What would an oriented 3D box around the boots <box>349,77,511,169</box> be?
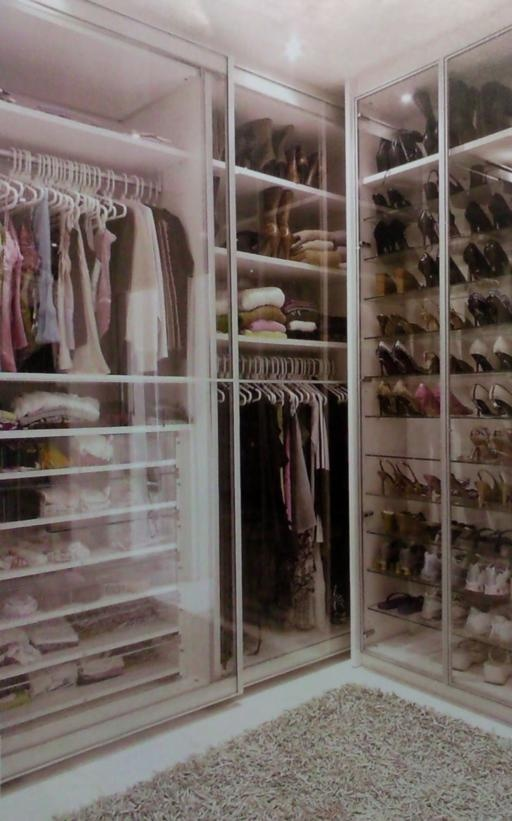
[{"bbox_3d":[0.697,-1.118,2.430,0.374,0.175,0.540,-8,13,30],"label":"boots"}]
